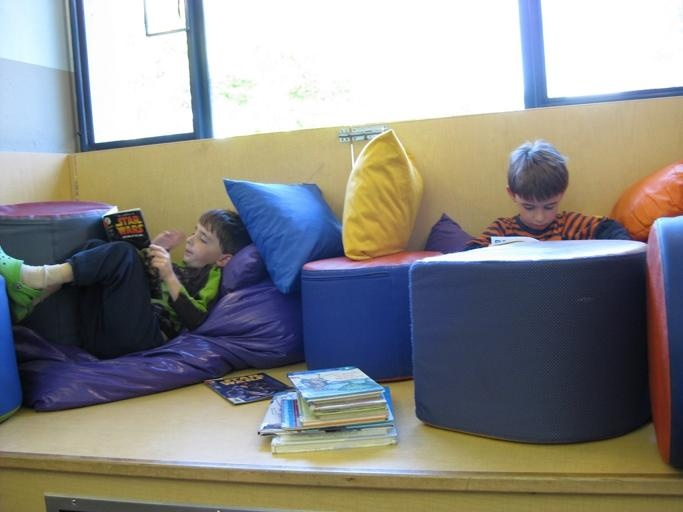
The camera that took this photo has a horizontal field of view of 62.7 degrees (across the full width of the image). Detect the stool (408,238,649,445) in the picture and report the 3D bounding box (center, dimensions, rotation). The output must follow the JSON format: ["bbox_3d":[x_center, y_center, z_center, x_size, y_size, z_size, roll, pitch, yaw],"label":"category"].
[{"bbox_3d":[0.563,0.275,1.945,0.638,0.482,0.638,-2,2,-5],"label":"stool"}]

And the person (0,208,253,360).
[{"bbox_3d":[-0.934,0.078,2.648,0.926,0.630,0.522,20,-4,-19],"label":"person"}]

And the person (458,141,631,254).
[{"bbox_3d":[0.849,-0.185,2.403,0.711,0.521,0.426,-6,10,-1],"label":"person"}]

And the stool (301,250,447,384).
[{"bbox_3d":[0.094,0.218,2.408,0.757,0.651,0.423,-1,-2,-2],"label":"stool"}]

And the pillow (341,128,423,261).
[{"bbox_3d":[0.214,-0.281,2.684,0.359,0.545,0.644,1,3,17],"label":"pillow"}]

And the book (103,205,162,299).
[{"bbox_3d":[-0.896,-0.014,2.465,0.081,0.317,0.306,-8,2,10],"label":"book"}]
